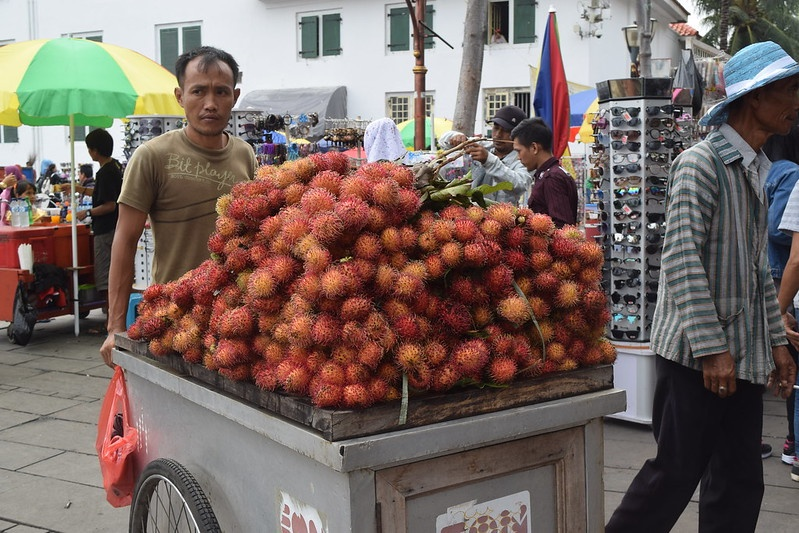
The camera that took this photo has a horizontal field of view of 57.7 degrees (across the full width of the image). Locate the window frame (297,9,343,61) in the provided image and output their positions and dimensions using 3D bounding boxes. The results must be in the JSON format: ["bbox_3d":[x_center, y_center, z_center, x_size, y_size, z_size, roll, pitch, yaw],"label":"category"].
[{"bbox_3d":[-2.331,-6.747,21.205,1.338,1.225,0.172,-11,35,-22],"label":"window frame"}]

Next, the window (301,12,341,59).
[{"bbox_3d":[-2.236,-6.735,21.110,1.330,1.255,0.267,2,2,29],"label":"window"}]

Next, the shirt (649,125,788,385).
[{"bbox_3d":[1.670,-0.038,3.806,0.791,1.275,0.557,-1,3,-33],"label":"shirt"}]

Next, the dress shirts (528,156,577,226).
[{"bbox_3d":[1.175,-0.503,5.645,0.379,0.673,0.770,-3,4,1],"label":"dress shirts"}]

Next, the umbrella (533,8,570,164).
[{"bbox_3d":[1.640,-2.062,7.810,0.423,1.941,0.298,-3,-19,20],"label":"umbrella"}]

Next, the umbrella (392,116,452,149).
[{"bbox_3d":[0.546,-3.031,15.818,1.347,0.480,1.394,-2,11,-6],"label":"umbrella"}]

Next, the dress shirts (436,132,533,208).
[{"bbox_3d":[0.558,-0.780,5.970,0.412,0.301,0.697,22,14,-48],"label":"dress shirts"}]
